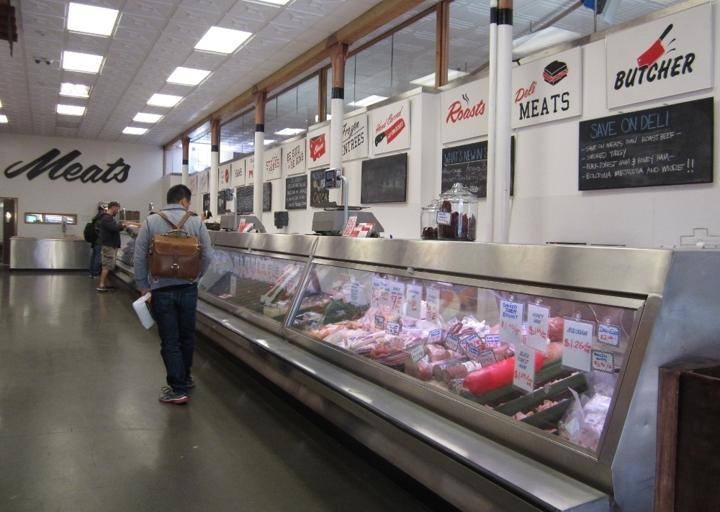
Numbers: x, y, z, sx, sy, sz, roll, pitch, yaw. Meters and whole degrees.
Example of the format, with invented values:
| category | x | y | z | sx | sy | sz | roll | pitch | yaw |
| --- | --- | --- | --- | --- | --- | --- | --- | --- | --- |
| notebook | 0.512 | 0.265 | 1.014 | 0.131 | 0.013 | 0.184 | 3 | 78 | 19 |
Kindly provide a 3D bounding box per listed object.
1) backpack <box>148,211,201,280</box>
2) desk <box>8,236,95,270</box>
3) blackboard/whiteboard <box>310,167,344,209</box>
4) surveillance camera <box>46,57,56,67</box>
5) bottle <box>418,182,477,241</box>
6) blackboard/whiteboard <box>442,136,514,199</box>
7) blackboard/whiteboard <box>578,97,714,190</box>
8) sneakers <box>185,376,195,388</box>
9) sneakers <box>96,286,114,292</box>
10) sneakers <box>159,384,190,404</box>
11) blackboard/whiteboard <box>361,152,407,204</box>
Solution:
| category | x | y | z | sx | sy | sz | roll | pitch | yaw |
| --- | --- | --- | --- | --- | --- | --- | --- | --- | --- |
| backpack | -1.458 | -0.069 | 3.470 | 0.383 | 0.554 | 0.302 | -1 | 4 | -20 |
| desk | -9.133 | -0.064 | 12.831 | 2.768 | 0.903 | 1.155 | 0 | 0 | -20 |
| blackboard/whiteboard | -0.503 | -1.045 | 6.705 | 0.114 | 0.974 | 1.108 | -1 | 5 | -25 |
| surveillance camera | -6.108 | -3.846 | 8.629 | 0.096 | 0.105 | 0.042 | 38 | 19 | -2 |
| bottle | 0.559 | -0.266 | 2.974 | 0.441 | 0.448 | 0.400 | 1 | 1 | 13 |
| blackboard/whiteboard | 1.319 | -1.083 | 5.579 | 0.076 | 0.702 | 0.866 | -2 | 5 | -27 |
| blackboard/whiteboard | 2.609 | -1.018 | 3.942 | 0.096 | 0.625 | 0.985 | 1 | 0 | -36 |
| sneakers | -1.426 | 1.063 | 3.658 | 0.084 | 0.122 | 0.278 | 1 | -15 | -21 |
| sneakers | -5.060 | 0.657 | 8.707 | 0.316 | 0.133 | 0.115 | 1 | 4 | -19 |
| sneakers | -1.452 | 1.099 | 3.465 | 0.245 | 0.124 | 0.104 | 8 | 7 | 22 |
| blackboard/whiteboard | 0.385 | -1.176 | 6.590 | 0.065 | 0.627 | 0.872 | 1 | 0 | -31 |
